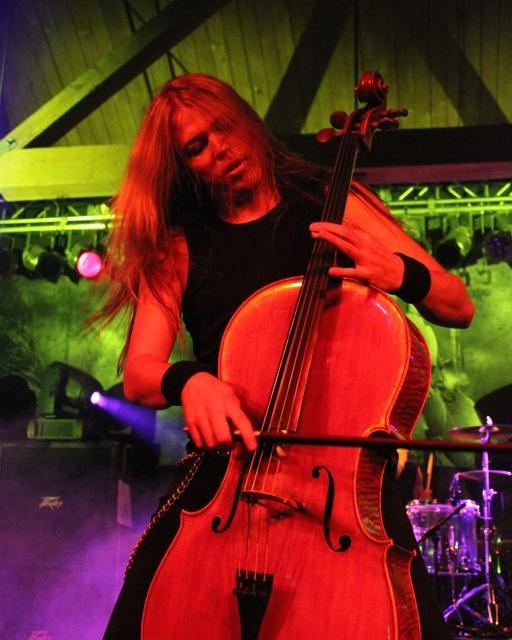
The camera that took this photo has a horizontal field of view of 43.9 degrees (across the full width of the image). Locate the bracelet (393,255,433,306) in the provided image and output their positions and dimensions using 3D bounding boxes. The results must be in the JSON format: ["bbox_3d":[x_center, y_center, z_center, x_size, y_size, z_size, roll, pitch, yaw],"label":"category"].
[{"bbox_3d":[0.340,-0.078,1.404,0.084,0.104,0.087,-3,-17,-43],"label":"bracelet"}]

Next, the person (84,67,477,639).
[{"bbox_3d":[-0.009,-0.004,1.720,0.782,1.503,0.533,2,-26,10],"label":"person"}]

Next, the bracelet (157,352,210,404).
[{"bbox_3d":[-0.152,0.119,1.312,0.085,0.095,0.034,7,-13,33],"label":"bracelet"}]
